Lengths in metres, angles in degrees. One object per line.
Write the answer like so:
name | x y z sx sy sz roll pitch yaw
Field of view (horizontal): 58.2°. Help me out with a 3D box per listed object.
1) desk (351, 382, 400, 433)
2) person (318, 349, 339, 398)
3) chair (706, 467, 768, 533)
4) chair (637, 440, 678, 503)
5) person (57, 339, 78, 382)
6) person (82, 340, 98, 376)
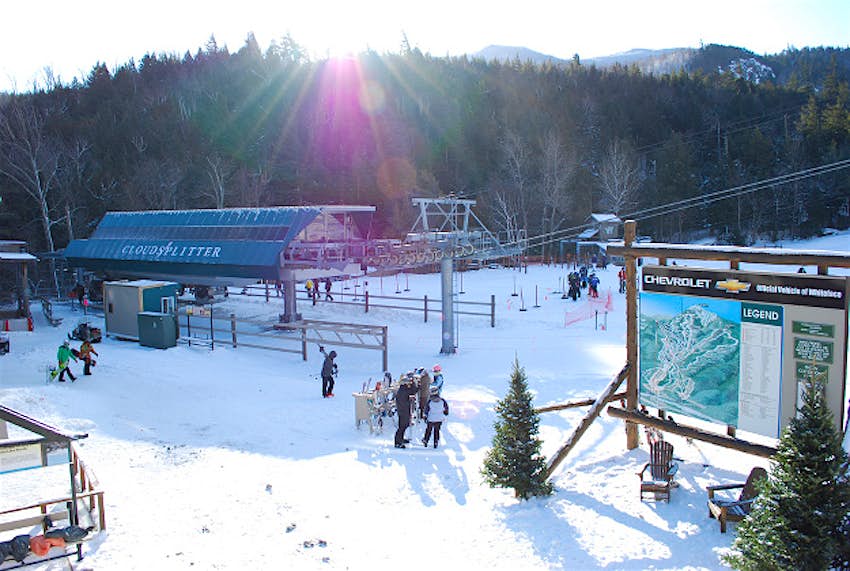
desk | -2.122 5.182 31.897 1.607 2.127 1.789 -4 2 -14
person | -4.296 3.926 34.166 0.773 2.055 0.920 -3 2 -32
chair | 10.536 7.125 25.845 1.672 1.898 1.318 -4 10 6
chair | 8.094 6.507 26.744 1.136 1.683 1.642 -1 3 29
person | -16.557 3.424 35.256 0.784 1.191 2.229 -3 3 -26
person | -15.709 3.339 35.612 0.617 1.559 1.124 -3 2 -25
